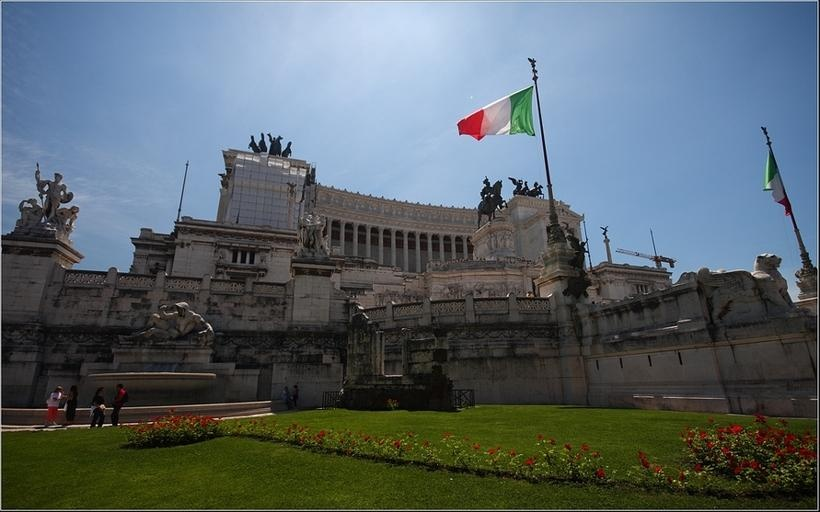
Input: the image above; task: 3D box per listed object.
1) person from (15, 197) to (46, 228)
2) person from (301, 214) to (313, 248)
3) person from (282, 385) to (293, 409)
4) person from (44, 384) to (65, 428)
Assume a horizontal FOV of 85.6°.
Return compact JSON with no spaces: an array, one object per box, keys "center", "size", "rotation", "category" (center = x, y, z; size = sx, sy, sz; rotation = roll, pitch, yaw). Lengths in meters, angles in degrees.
[{"center":[-22.612,-2.395,26.369],"size":[1.233,1.648,0.652],"rotation":[5,-19,-21],"category":"person"},{"center":[-7.395,-1.665,31.548],"size":[0.761,2.495,0.925],"rotation":[4,-18,-15],"category":"person"},{"center":[-7.265,8.411,26.262],"size":[0.589,1.209,1.297],"rotation":[3,-17,-14],"category":"person"},{"center":[-14.988,6.370,18.628],"size":[0.456,1.567,1.060],"rotation":[12,-22,-37],"category":"person"}]
